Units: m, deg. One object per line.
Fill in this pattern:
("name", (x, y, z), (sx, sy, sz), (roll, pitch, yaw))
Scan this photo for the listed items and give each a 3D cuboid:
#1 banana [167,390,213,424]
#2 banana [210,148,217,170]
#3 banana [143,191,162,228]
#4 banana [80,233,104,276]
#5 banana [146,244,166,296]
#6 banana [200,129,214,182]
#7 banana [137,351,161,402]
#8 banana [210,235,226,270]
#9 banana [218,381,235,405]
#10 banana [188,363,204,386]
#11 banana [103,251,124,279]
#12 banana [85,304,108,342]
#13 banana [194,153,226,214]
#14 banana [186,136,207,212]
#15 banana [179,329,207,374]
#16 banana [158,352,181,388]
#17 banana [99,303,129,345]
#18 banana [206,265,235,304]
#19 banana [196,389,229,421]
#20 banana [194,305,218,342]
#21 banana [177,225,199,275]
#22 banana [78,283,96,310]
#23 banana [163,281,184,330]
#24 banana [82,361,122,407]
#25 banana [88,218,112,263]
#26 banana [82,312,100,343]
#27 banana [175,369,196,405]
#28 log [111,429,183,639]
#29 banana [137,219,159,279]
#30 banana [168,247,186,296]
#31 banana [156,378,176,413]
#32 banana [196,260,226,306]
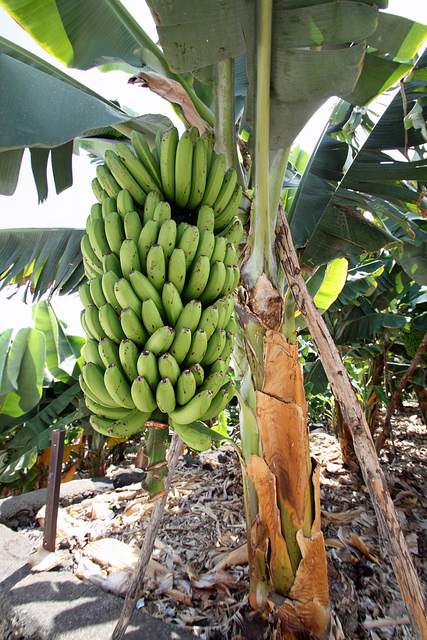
("banana", (-0.087, 0.298, 1.431), (0.043, 0.132, 0.088), (28, 31, -28))
("banana", (-0.001, -0.728, 1.819), (0.014, 0.082, 0.021), (12, -18, -20))
("banana", (-0.251, -0.459, 1.627), (0.046, 0.172, 0.061), (14, -4, -11))
("banana", (-0.496, -0.273, 1.723), (0.084, 0.061, 0.247), (29, -21, -8))
("banana", (-0.213, -0.190, 1.501), (0.048, 0.176, 0.056), (-8, 9, -10))
("banana", (-0.023, -0.744, 1.781), (0.057, 0.248, 0.079), (2, -5, -16))
("banana", (-0.214, 0.192, 1.429), (0.054, 0.186, 0.061), (-3, 21, 11))
("banana", (0.017, -0.279, 1.664), (0.040, 0.051, 0.154), (15, 47, -5))
("banana", (0.067, 0.290, 1.673), (0.036, 0.072, 0.110), (23, 18, 3))
("banana", (-0.056, 0.189, 1.470), (0.044, 0.081, 0.026), (-9, 12, -21))
("banana", (-0.387, -0.218, 1.560), (0.044, 0.142, 0.047), (-28, -25, 8))
("banana", (-0.447, 0.006, 1.600), (0.066, 0.195, 0.051), (-11, -2, -43))
("banana", (-0.023, -0.591, 1.757), (0.066, 0.263, 0.087), (7, 21, -17))
("banana", (-0.069, -0.614, 1.726), (0.067, 0.294, 0.096), (1, 9, -10))
("banana", (-0.089, 0.108, 1.523), (0.056, 0.217, 0.077), (8, 29, -16))
("banana", (-0.155, 0.172, 1.475), (0.065, 0.124, 0.044), (-8, 30, 12))
("banana", (-0.370, 0.013, 1.483), (0.057, 0.210, 0.070), (-4, 24, 21))
("banana", (0.034, -0.152, 1.653), (0.060, 0.181, 0.053), (16, 6, -1))
("banana", (-0.001, 0.303, 1.548), (0.065, 0.056, 0.187), (-19, 9, 21))
("banana", (-0.020, -0.008, 1.555), (0.046, 0.173, 0.055), (22, -28, -11))
("banana", (-0.091, -0.262, 1.583), (0.052, 0.199, 0.064), (7, 0, -27))
("banana", (-0.484, -0.095, 1.574), (0.036, 0.138, 0.048), (-14, -9, 25))
("banana", (-0.142, -0.055, 1.513), (0.054, 0.187, 0.054), (0, 31, 10))
("banana", (-0.396, 0.227, 1.466), (0.043, 0.163, 0.057), (-29, 1, 32))
("banana", (-0.457, -0.330, 1.625), (0.056, 0.214, 0.073), (-13, -12, 28))
("banana", (-0.461, 0.022, 1.545), (0.041, 0.118, 0.026), (-24, -1, -15))
("banana", (-0.099, 0.233, 1.427), (0.065, 0.118, 0.040), (6, 4, -24))
("log", (-0.408, 1.366, 2.534), (0.147, 1.381, 0.071), (11, -18, 5))
("banana", (-0.242, -0.276, 1.570), (0.063, 0.240, 0.077), (3, -1, 4))
("banana", (-0.133, -0.182, 1.512), (0.050, 0.164, 0.049), (4, 14, 45))
("banana", (-0.163, 0.246, 1.393), (0.057, 0.119, 0.038), (-10, 23, -8))
("banana", (-0.001, -0.149, 1.607), (0.065, 0.256, 0.089), (9, 20, -20))
